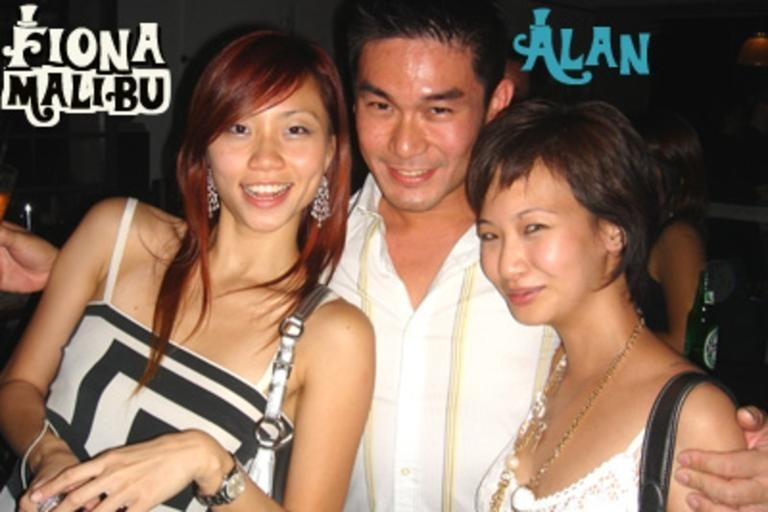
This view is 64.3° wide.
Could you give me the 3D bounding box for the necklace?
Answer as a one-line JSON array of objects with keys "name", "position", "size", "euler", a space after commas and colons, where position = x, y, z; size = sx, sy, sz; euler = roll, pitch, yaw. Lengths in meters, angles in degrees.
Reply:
[{"name": "necklace", "position": [0.792, 0.826, 2.815], "size": [0.417, 1.345, 0.105], "euler": [39, -23, -11]}]
